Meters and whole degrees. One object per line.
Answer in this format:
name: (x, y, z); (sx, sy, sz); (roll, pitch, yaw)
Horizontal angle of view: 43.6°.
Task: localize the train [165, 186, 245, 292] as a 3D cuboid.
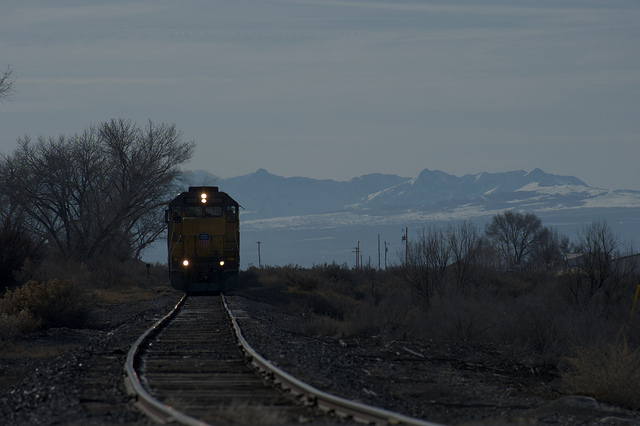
train: (-5.910, 1.333, 40.903); (3.459, 5.284, 1.501); (0, 1, -14)
